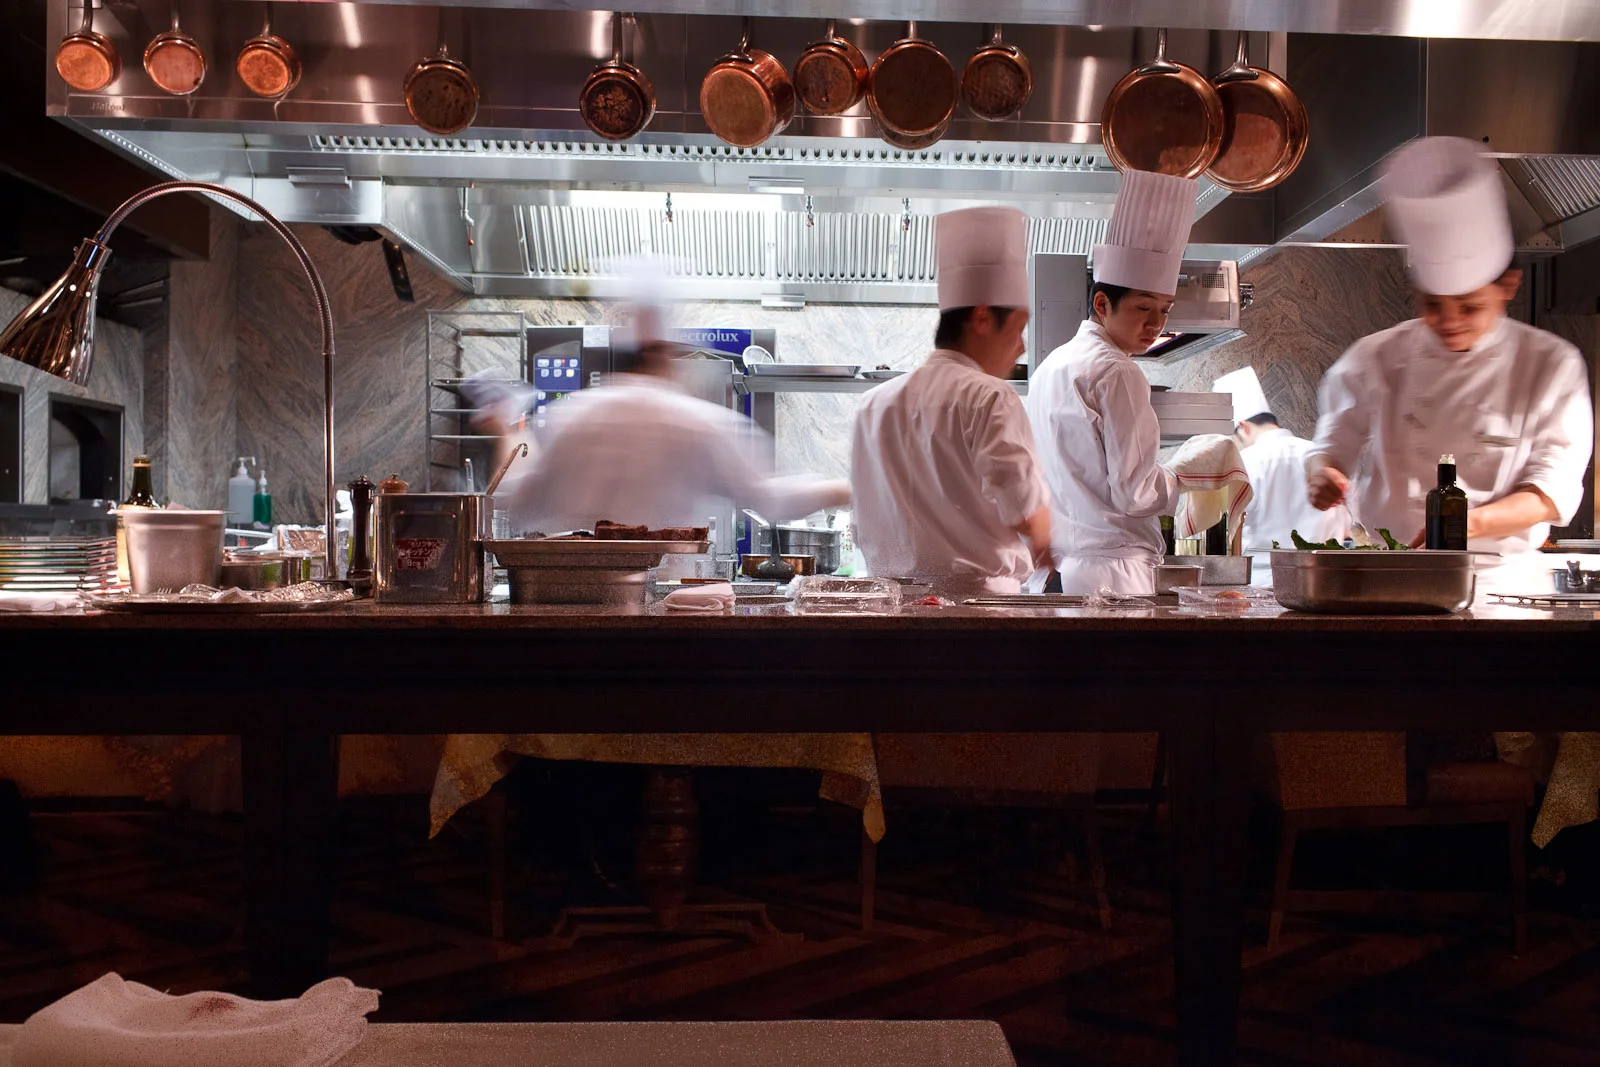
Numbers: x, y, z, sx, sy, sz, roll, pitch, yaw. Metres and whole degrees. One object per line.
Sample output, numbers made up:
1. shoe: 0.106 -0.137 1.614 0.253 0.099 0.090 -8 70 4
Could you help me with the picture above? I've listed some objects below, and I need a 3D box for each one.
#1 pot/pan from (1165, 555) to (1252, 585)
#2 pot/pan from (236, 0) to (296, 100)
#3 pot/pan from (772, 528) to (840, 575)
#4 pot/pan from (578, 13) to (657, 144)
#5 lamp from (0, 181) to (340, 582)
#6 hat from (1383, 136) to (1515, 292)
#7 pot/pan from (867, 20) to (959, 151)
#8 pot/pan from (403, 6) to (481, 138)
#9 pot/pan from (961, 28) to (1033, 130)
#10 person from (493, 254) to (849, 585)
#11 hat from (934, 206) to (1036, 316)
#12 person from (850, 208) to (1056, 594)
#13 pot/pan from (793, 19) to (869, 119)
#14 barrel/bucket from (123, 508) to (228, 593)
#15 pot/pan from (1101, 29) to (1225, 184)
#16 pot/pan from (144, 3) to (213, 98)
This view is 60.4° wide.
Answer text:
1. pot/pan: 1.088 0.099 3.708 0.232 0.077 0.301 -1 3 14
2. pot/pan: -1.666 -1.503 4.274 0.176 0.304 0.297 -2 3 -20
3. pot/pan: 0.034 0.052 6.191 0.292 0.256 0.207 0 2 12
4. pot/pan: -0.579 -1.444 4.286 0.225 0.439 0.333 -2 2 -6
5. lamp: -1.956 -0.617 4.477 0.773 1.426 2.279 -2 3 -20
6. hat: 2.163 -1.083 4.590 0.427 0.483 0.541 -1 -20 21
7. pot/pan: 0.342 -1.352 4.151 0.268 0.320 0.280 -1 2 8
8. pot/pan: -1.122 -1.440 4.277 0.221 0.412 0.331 -2 2 -14
9. pot/pan: 0.599 -1.383 4.194 0.190 0.274 0.104 0 12 8
10. person: -0.602 -0.482 4.689 0.901 0.935 0.414 -2 2 -10
11. hat: 0.592 -0.896 4.528 0.339 0.295 0.332 -3 1 -5
12. person: 0.452 -0.431 4.308 0.633 1.226 0.498 -1 2 6
13. pot/pan: 0.094 -1.395 4.133 0.190 0.266 0.108 3 19 6
14. barrel/bucket: -1.578 0.048 3.474 0.270 0.187 0.261 -1 -2 0
15. pot/pan: 1.077 -1.272 4.029 0.313 0.422 0.233 -3 3 -33
16. pot/pan: -1.895 -1.439 4.207 0.223 0.314 0.046 -4 9 -6
